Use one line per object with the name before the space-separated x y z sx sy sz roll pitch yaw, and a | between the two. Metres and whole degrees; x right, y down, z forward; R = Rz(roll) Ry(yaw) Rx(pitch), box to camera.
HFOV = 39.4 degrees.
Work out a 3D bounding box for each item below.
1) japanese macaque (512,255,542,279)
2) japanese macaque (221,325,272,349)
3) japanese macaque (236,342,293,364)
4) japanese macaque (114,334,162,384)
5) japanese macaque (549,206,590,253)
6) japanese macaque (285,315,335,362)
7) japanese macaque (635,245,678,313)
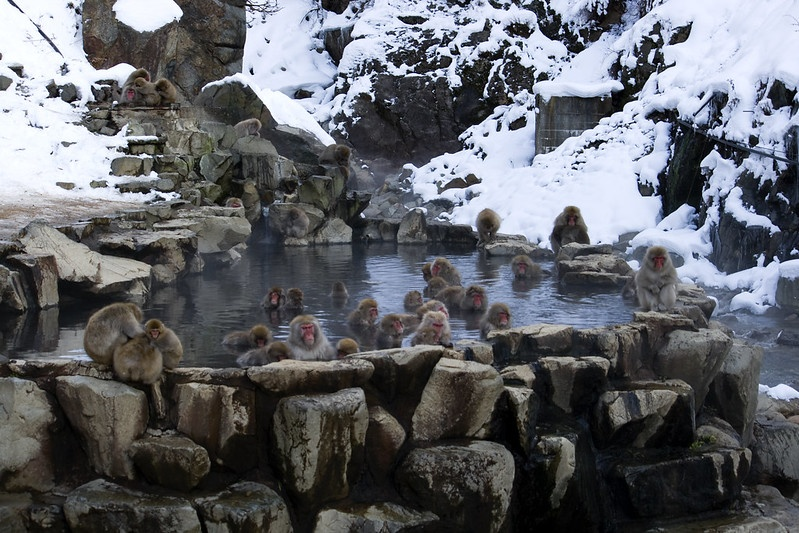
japanese macaque | 2.695 0.020 23.704 0.721 0.525 0.377 4 -3 -34
japanese macaque | -2.539 1.142 18.725 0.688 0.303 0.434 -5 35 40
japanese macaque | -2.187 1.414 18.067 1.113 0.426 0.377 0 -3 41
japanese macaque | -3.931 1.427 16.858 0.478 0.467 0.849 1 9 -13
japanese macaque | 3.839 -0.804 25.673 0.868 1.051 1.566 -4 -10 3
japanese macaque | -1.420 1.151 17.984 0.748 0.706 0.450 3 -2 -7
japanese macaque | 4.490 0.214 19.623 0.685 1.129 0.475 2 -2 13
